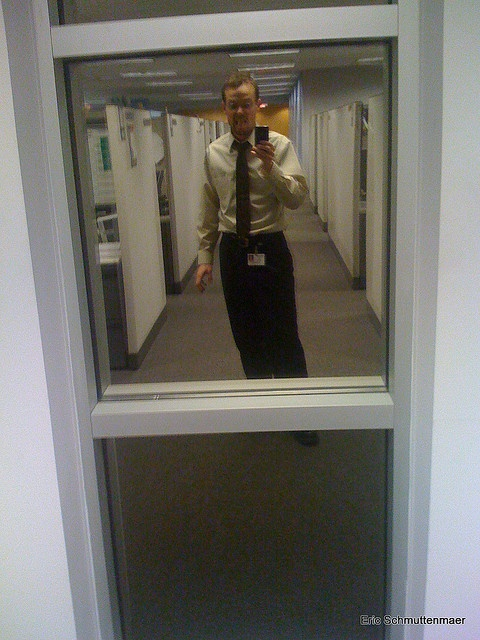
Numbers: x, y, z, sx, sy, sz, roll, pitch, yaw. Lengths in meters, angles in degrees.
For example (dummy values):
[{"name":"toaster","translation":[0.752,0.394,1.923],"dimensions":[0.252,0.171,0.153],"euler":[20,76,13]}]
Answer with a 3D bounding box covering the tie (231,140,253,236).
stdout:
[{"name":"tie","translation":[0.009,-0.257,1.069],"dimensions":[0.036,0.234,0.019],"euler":[6,41,11]}]
